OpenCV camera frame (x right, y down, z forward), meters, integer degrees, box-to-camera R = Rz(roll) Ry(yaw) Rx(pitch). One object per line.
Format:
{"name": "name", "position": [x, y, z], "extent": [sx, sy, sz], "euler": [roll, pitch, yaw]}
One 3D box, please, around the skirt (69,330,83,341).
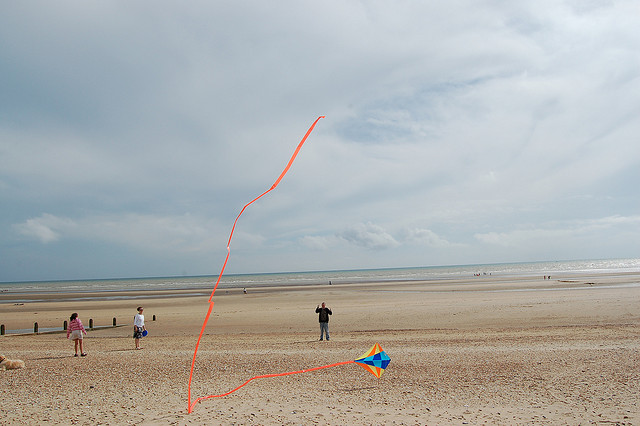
{"name": "skirt", "position": [-13.795, 6.961, 30.107], "extent": [0.706, 0.440, 0.849], "euler": [6, -4, -11]}

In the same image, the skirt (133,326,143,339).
{"name": "skirt", "position": [-10.805, 7.118, 31.357], "extent": [0.458, 0.705, 0.303], "euler": [0, 0, -19]}
